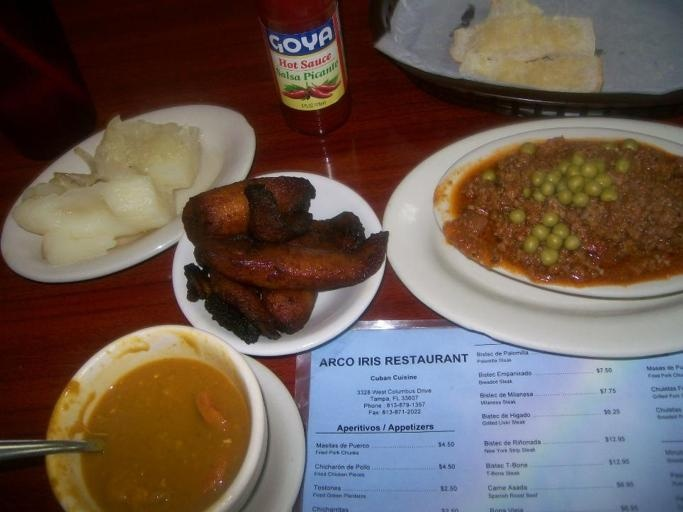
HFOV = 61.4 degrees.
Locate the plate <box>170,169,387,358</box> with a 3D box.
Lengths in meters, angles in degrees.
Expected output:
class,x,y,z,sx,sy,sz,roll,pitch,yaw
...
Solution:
class,x,y,z,sx,sy,sz,roll,pitch,yaw
plate,-0.152,0.023,1.486,0.553,0.120,0.480,-37,77,-8
